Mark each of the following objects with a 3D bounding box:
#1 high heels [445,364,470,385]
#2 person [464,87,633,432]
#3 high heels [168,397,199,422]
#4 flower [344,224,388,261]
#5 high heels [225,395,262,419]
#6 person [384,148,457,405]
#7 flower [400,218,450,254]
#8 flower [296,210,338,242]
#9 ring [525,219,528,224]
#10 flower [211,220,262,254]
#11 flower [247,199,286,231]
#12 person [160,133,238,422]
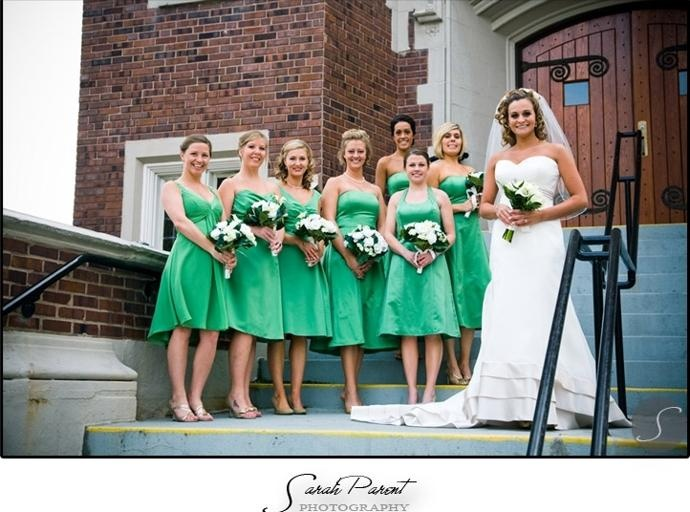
[{"bbox_3d":[1.020,1.117,8.131,0.098,0.100,0.270,4,-8,-27],"label":"high heels"},{"bbox_3d":[1.476,-0.019,7.110,0.977,2.729,0.659,-1,-3,15],"label":"person"},{"bbox_3d":[-1.380,1.297,7.367,0.123,0.131,0.329,6,-12,-38],"label":"high heels"},{"bbox_3d":[0.160,-0.114,7.908,0.309,0.310,0.268,-7,-41,-32],"label":"flower"},{"bbox_3d":[-0.873,1.322,7.595,0.263,0.114,0.145,-11,-15,37],"label":"high heels"},{"bbox_3d":[0.650,0.147,7.830,0.667,2.268,0.538,-1,-3,7],"label":"person"},{"bbox_3d":[0.693,-0.174,7.766,0.426,0.304,0.314,-1,-3,6],"label":"flower"},{"bbox_3d":[-0.255,-0.243,7.726,0.277,0.243,0.279,19,8,-10],"label":"flower"},{"bbox_3d":[1.428,-0.284,7.033,0.024,0.034,0.022,-1,-6,0],"label":"ring"},{"bbox_3d":[-0.928,-0.177,7.378,0.291,0.252,0.301,2,2,30],"label":"flower"},{"bbox_3d":[-0.670,-0.320,7.640,0.269,0.274,0.271,-21,34,7],"label":"flower"},{"bbox_3d":[-1.255,0.162,7.532,0.595,2.416,0.528,0,-3,-11],"label":"person"}]
